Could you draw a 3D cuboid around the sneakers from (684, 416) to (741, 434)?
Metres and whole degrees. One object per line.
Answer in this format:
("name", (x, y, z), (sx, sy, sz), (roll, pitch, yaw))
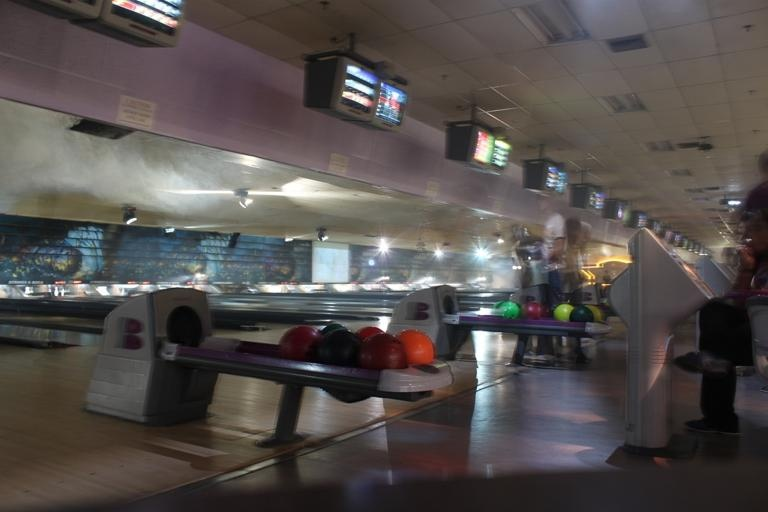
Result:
("sneakers", (2.108, 1.089, 3.024), (0.344, 0.099, 0.114), (-1, -2, 35))

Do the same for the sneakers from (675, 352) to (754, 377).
("sneakers", (1.907, 0.625, 2.732), (0.444, 0.141, 0.124), (0, -3, -11))

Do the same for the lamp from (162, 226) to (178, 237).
("lamp", (-3.483, -0.406, 7.615), (0.279, 0.207, 0.371), (1, -2, -26))

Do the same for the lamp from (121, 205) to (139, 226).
("lamp", (-3.549, -0.590, 6.508), (0.296, 0.293, 0.174), (4, -34, -24))
